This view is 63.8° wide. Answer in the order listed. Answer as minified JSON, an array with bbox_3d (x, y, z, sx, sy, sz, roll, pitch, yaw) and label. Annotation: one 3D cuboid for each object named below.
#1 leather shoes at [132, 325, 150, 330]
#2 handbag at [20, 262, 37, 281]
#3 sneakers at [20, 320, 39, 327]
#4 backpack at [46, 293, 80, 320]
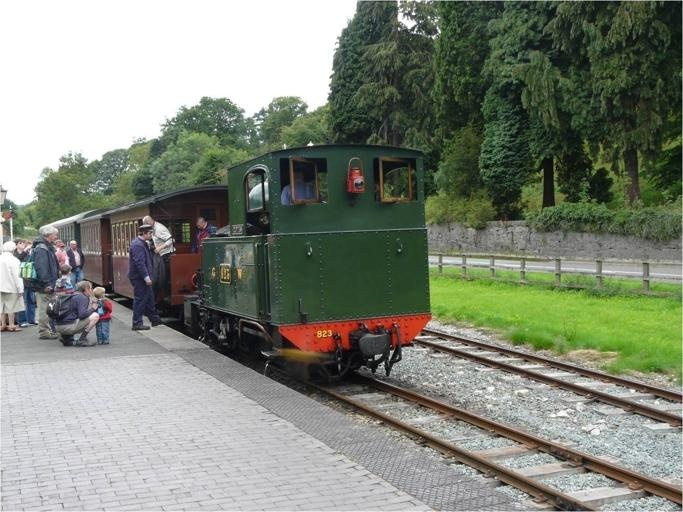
[{"bbox_3d":[-5.012,1.774,13.721,0.438,0.173,0.147,0,3,-17],"label":"leather shoes"},{"bbox_3d":[-7.466,0.362,13.043,0.197,0.441,0.463,5,-4,-43],"label":"handbag"},{"bbox_3d":[-8.471,1.841,14.832,0.371,0.156,0.123,3,-2,-35],"label":"sneakers"},{"bbox_3d":[-5.859,1.053,11.560,0.449,0.523,0.570,1,-1,43],"label":"backpack"}]
